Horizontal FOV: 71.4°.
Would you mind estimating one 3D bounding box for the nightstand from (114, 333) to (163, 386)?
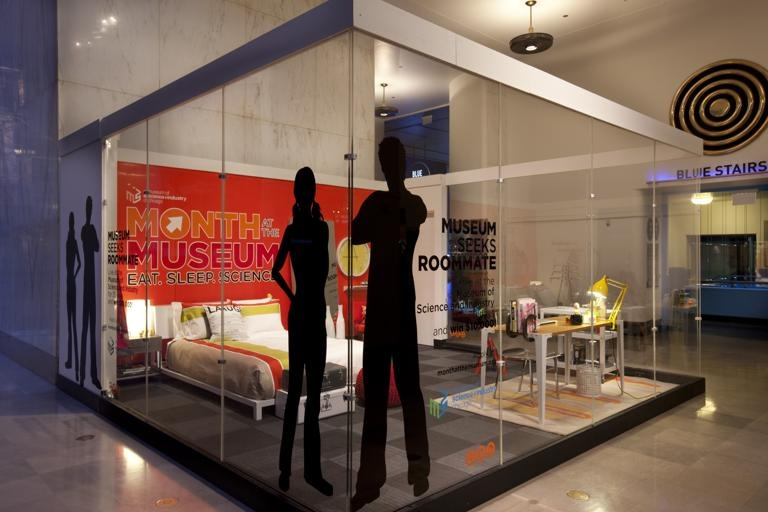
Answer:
[{"bbox_3d":[-2.796,1.181,6.170,0.627,0.562,0.369,-2,-4,30],"label":"nightstand"}]

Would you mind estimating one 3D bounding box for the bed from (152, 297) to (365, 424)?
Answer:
[{"bbox_3d":[-1.343,0.835,5.342,1.275,0.744,1.668,0,0,-44],"label":"bed"}]

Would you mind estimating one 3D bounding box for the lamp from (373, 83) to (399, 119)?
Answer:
[{"bbox_3d":[0.007,-1.333,4.563,0.220,0.252,0.221,5,10,39],"label":"lamp"}]
